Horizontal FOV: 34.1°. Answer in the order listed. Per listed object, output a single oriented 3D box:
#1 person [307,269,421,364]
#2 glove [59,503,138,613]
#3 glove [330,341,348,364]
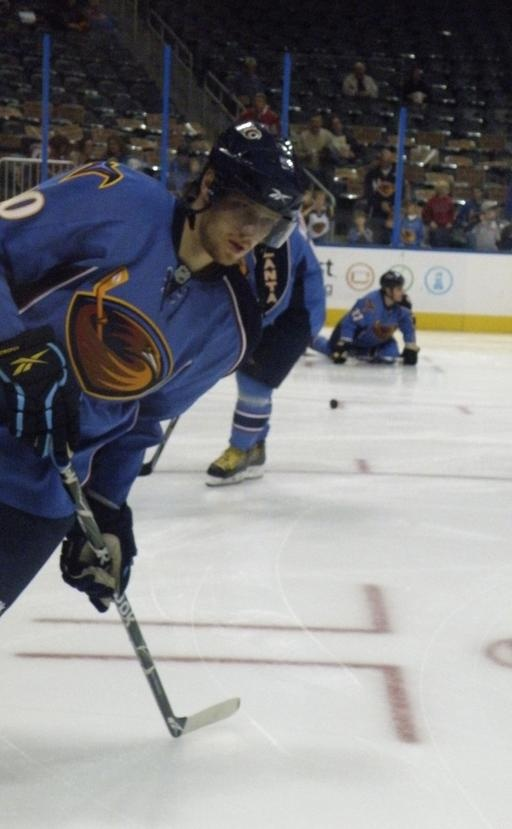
[{"bbox_3d":[0.854,-0.900,7.191,0.615,0.753,1.006,-11,32,-27],"label":"person"},{"bbox_3d":[-0.263,0.250,1.385,0.111,0.175,0.076,3,28,22],"label":"glove"},{"bbox_3d":[0.685,-0.505,6.841,0.125,0.159,0.076,7,4,25],"label":"glove"}]
